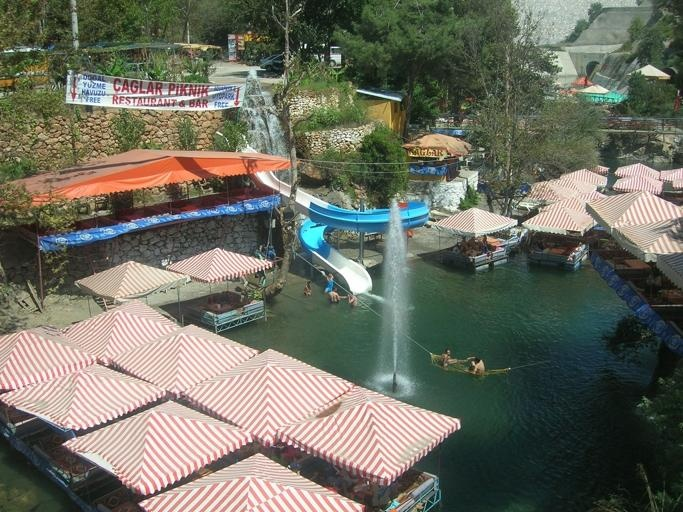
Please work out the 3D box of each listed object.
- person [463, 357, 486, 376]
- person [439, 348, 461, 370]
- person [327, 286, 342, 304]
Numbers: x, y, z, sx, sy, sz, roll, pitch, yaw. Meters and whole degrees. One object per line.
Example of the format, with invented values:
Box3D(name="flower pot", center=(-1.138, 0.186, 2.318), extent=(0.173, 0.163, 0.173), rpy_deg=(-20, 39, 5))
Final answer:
Box3D(name="person", center=(5.420, 4.323, 28.388), extent=(0.734, 0.618, 0.937), rpy_deg=(5, 18, 10))
Box3D(name="person", center=(4.386, 4.178, 28.756), extent=(0.834, 0.580, 0.573), rpy_deg=(11, 23, 34))
Box3D(name="person", center=(-0.349, 1.832, 34.456), extent=(0.693, 0.515, 1.155), rpy_deg=(2, 17, -1))
